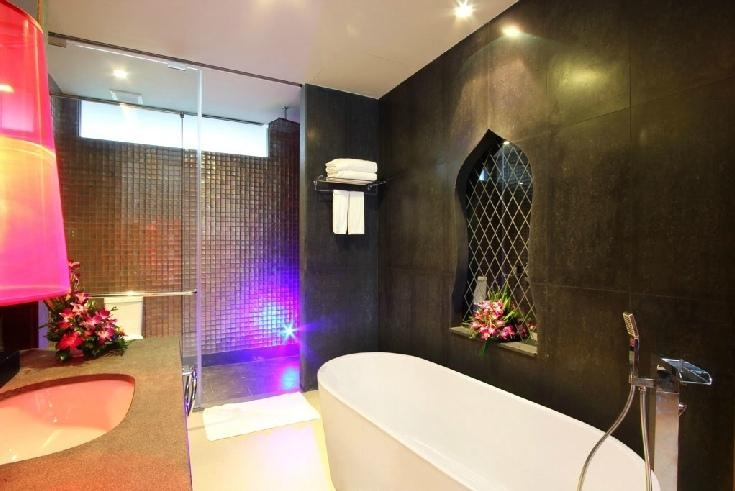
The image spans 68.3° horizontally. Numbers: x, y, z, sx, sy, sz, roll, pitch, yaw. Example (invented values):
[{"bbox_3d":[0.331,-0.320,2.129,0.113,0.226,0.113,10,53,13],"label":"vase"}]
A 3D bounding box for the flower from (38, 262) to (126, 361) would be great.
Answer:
[{"bbox_3d":[-1.691,0.371,3.155,0.347,0.498,0.340,-24,-27,15],"label":"flower"}]

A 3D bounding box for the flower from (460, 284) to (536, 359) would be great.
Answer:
[{"bbox_3d":[0.947,0.526,3.846,0.286,0.435,0.349,-1,2,-29],"label":"flower"}]

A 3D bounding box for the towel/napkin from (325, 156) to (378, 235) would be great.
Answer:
[{"bbox_3d":[-0.152,-0.430,4.871,0.476,0.674,0.328,0,2,-13],"label":"towel/napkin"}]
